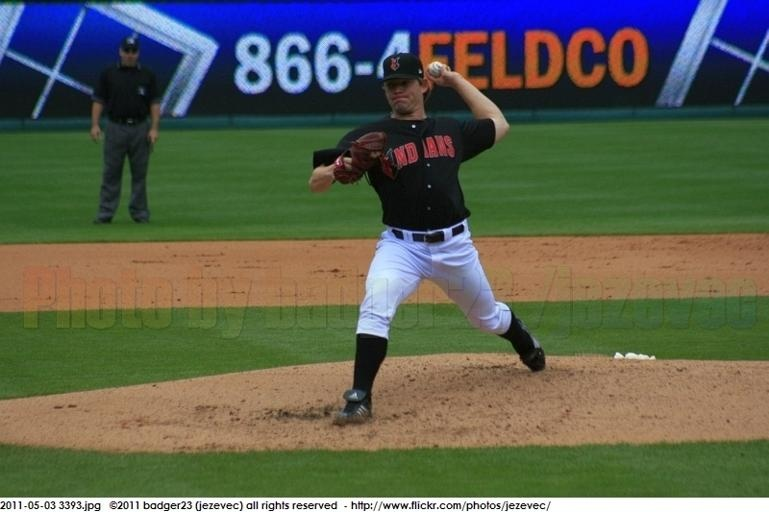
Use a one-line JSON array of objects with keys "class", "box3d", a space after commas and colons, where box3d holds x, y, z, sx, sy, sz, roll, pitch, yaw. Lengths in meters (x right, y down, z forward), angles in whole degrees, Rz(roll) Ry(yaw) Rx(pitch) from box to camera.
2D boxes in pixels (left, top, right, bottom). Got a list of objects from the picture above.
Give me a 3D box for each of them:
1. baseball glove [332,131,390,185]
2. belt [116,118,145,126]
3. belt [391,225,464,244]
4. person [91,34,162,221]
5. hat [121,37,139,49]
[{"class": "baseball glove", "box3d": [-0.268, -1.221, 17.769, 0.753, 0.539, 0.320, -30, 65, -8]}, {"class": "belt", "box3d": [-4.120, -2.175, 22.885, 0.498, 0.136, 0.113, -3, 14, -24]}, {"class": "belt", "box3d": [0.557, -0.276, 17.897, 0.927, 0.242, 0.119, 2, 14, -3]}, {"class": "person", "box3d": [-4.228, -2.005, 23.208, 1.073, 3.127, 0.879, 2, 14, -3]}, {"class": "hat", "box3d": [-4.107, -3.420, 22.817, 0.252, 0.187, 0.324, 0, 13, -11]}]
